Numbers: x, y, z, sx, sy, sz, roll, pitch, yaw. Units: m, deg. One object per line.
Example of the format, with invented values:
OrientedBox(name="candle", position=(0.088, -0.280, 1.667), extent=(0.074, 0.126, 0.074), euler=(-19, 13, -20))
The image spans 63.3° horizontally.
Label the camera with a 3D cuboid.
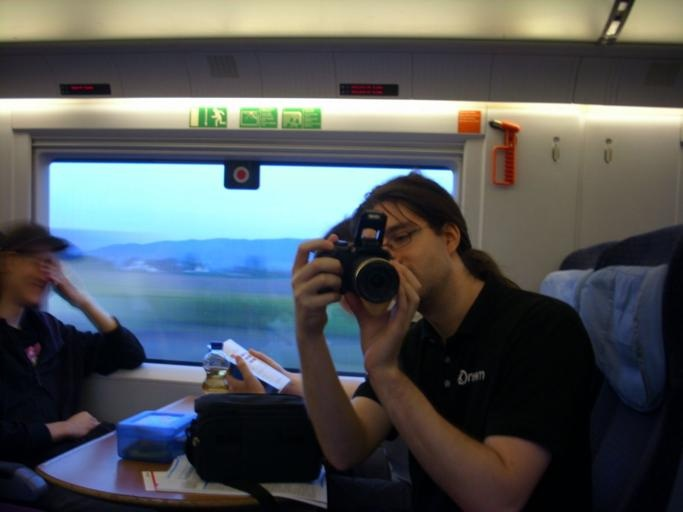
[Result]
OrientedBox(name="camera", position=(0.073, 0.013, 2.176), extent=(0.371, 0.347, 0.302), euler=(2, 7, 4))
